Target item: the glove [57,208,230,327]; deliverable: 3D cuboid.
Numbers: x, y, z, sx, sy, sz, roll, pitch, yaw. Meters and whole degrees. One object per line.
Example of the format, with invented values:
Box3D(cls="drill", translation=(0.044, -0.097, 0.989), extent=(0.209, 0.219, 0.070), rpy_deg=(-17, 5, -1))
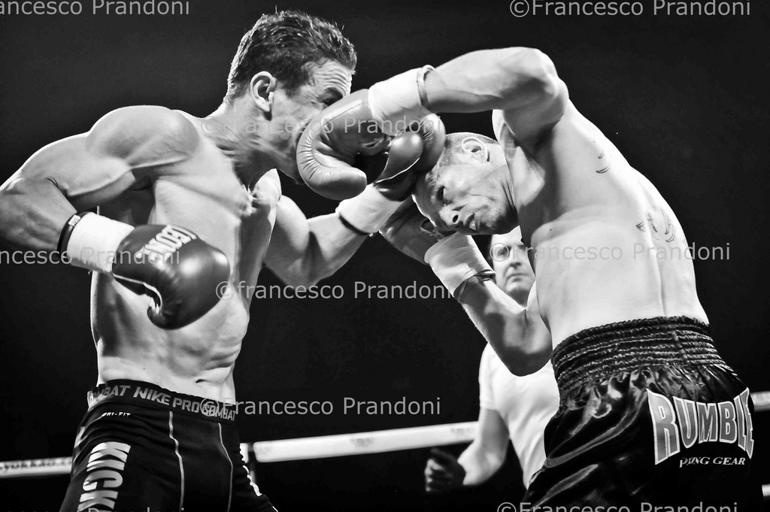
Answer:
Box3D(cls="glove", translation=(-0.964, 0.073, 5.021), extent=(0.619, 0.237, 0.407), rpy_deg=(14, 58, 8))
